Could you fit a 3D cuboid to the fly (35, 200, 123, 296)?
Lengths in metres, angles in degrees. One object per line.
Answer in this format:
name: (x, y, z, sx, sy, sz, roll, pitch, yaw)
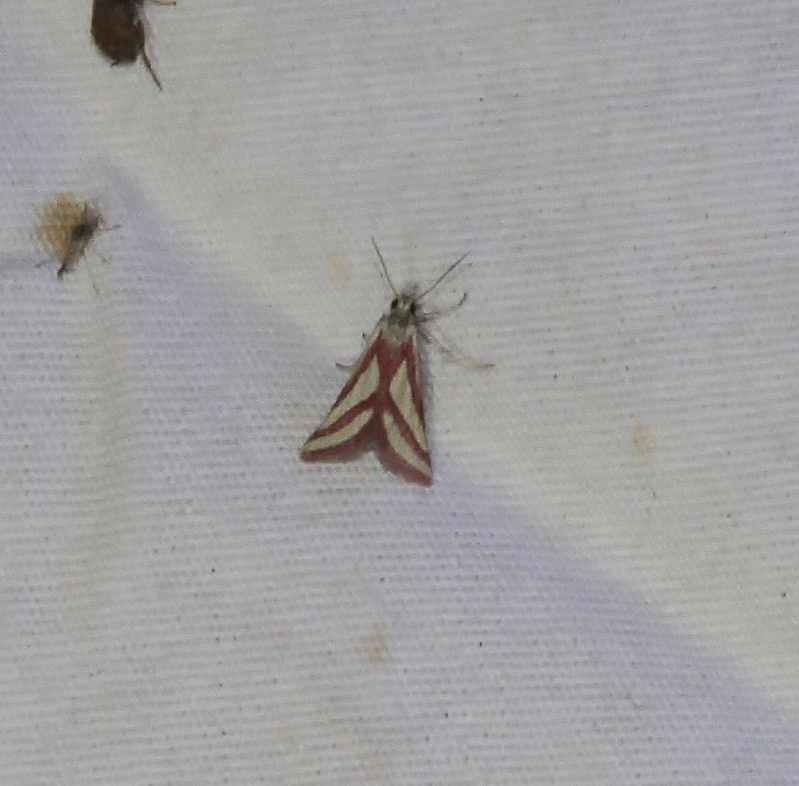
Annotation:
fly: (-1.902, -0.886, 10.738, 0.417, 0.165, 0.537, 28, 95, -5)
